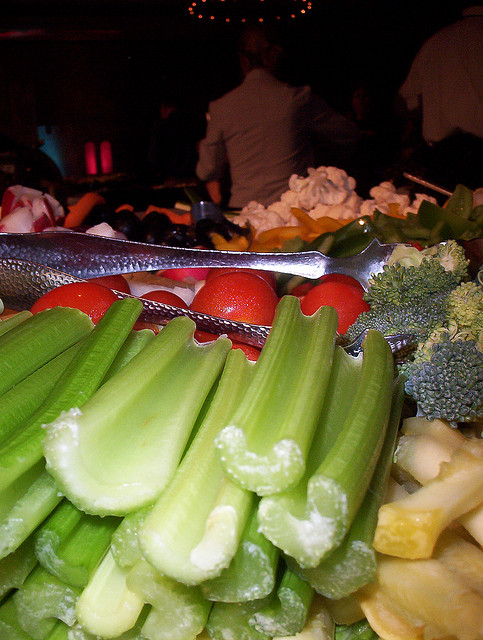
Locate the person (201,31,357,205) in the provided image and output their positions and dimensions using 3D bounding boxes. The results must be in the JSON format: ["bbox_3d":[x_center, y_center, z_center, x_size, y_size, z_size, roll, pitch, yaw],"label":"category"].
[{"bbox_3d":[0.256,-1.409,4.750,1.202,2.346,0.704,-6,59,1],"label":"person"}]

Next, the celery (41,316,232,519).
[{"bbox_3d":[-0.086,0.079,0.549,0.107,0.061,0.273,25,29,4],"label":"celery"}]

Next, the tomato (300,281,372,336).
[{"bbox_3d":[0.185,-0.031,1.089,0.129,0.109,0.130,13,-10,-26],"label":"tomato"}]

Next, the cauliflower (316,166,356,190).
[{"bbox_3d":[0.397,-0.647,2.389,0.147,0.053,0.150,41,21,31],"label":"cauliflower"}]

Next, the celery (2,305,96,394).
[{"bbox_3d":[-0.238,0.034,0.690,0.056,0.051,0.165,20,28,18],"label":"celery"}]

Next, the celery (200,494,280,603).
[{"bbox_3d":[0.005,0.192,0.462,0.069,0.063,0.084,0,12,-1],"label":"celery"}]

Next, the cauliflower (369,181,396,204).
[{"bbox_3d":[0.637,-0.550,2.426,0.153,0.042,0.136,6,58,14],"label":"cauliflower"}]

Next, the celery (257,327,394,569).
[{"bbox_3d":[0.082,0.096,0.550,0.112,0.085,0.339,17,24,13],"label":"celery"}]

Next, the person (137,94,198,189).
[{"bbox_3d":[-0.793,-1.764,5.746,0.614,0.900,1.038,-6,28,-11],"label":"person"}]

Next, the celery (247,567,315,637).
[{"bbox_3d":[0.037,0.229,0.456,0.024,0.061,0.049,14,10,-33],"label":"celery"}]

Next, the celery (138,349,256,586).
[{"bbox_3d":[-0.024,0.125,0.497,0.066,0.042,0.215,12,36,11],"label":"celery"}]

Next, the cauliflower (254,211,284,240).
[{"bbox_3d":[0.112,-0.379,2.095,0.141,0.055,0.126,-13,59,28],"label":"cauliflower"}]

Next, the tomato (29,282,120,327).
[{"bbox_3d":[-0.266,-0.034,0.945,0.132,0.078,0.126,1,15,21],"label":"tomato"}]

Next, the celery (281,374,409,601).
[{"bbox_3d":[0.116,0.143,0.562,0.079,0.059,0.305,9,28,18],"label":"celery"}]

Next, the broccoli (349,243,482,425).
[{"bbox_3d":[0.266,0.018,0.747,0.202,0.140,0.243,4,61,25],"label":"broccoli"}]

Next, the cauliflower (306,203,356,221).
[{"bbox_3d":[0.345,-0.414,2.080,0.190,0.056,0.198,5,27,10],"label":"cauliflower"}]

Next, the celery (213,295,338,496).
[{"bbox_3d":[0.039,0.059,0.536,0.087,0.047,0.248,12,37,9],"label":"celery"}]
